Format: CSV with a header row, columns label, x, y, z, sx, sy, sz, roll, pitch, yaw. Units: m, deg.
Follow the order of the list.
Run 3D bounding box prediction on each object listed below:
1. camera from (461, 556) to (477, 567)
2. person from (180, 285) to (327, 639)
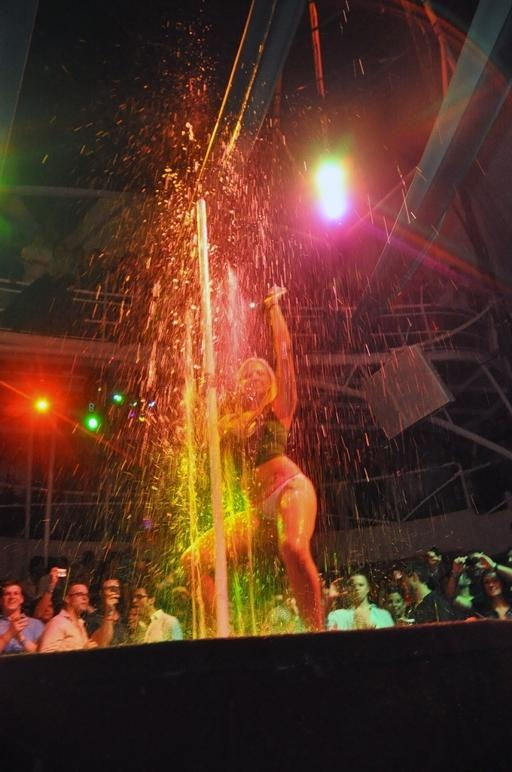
label,x,y,z,sx,sy,sz,roll,pitch,yaw
camera,2.423,2.024,6.052,0.115,0.143,0.258,-6,-27,5
person,0.068,0.416,3.120,0.392,1.938,0.892,10,-27,-26
